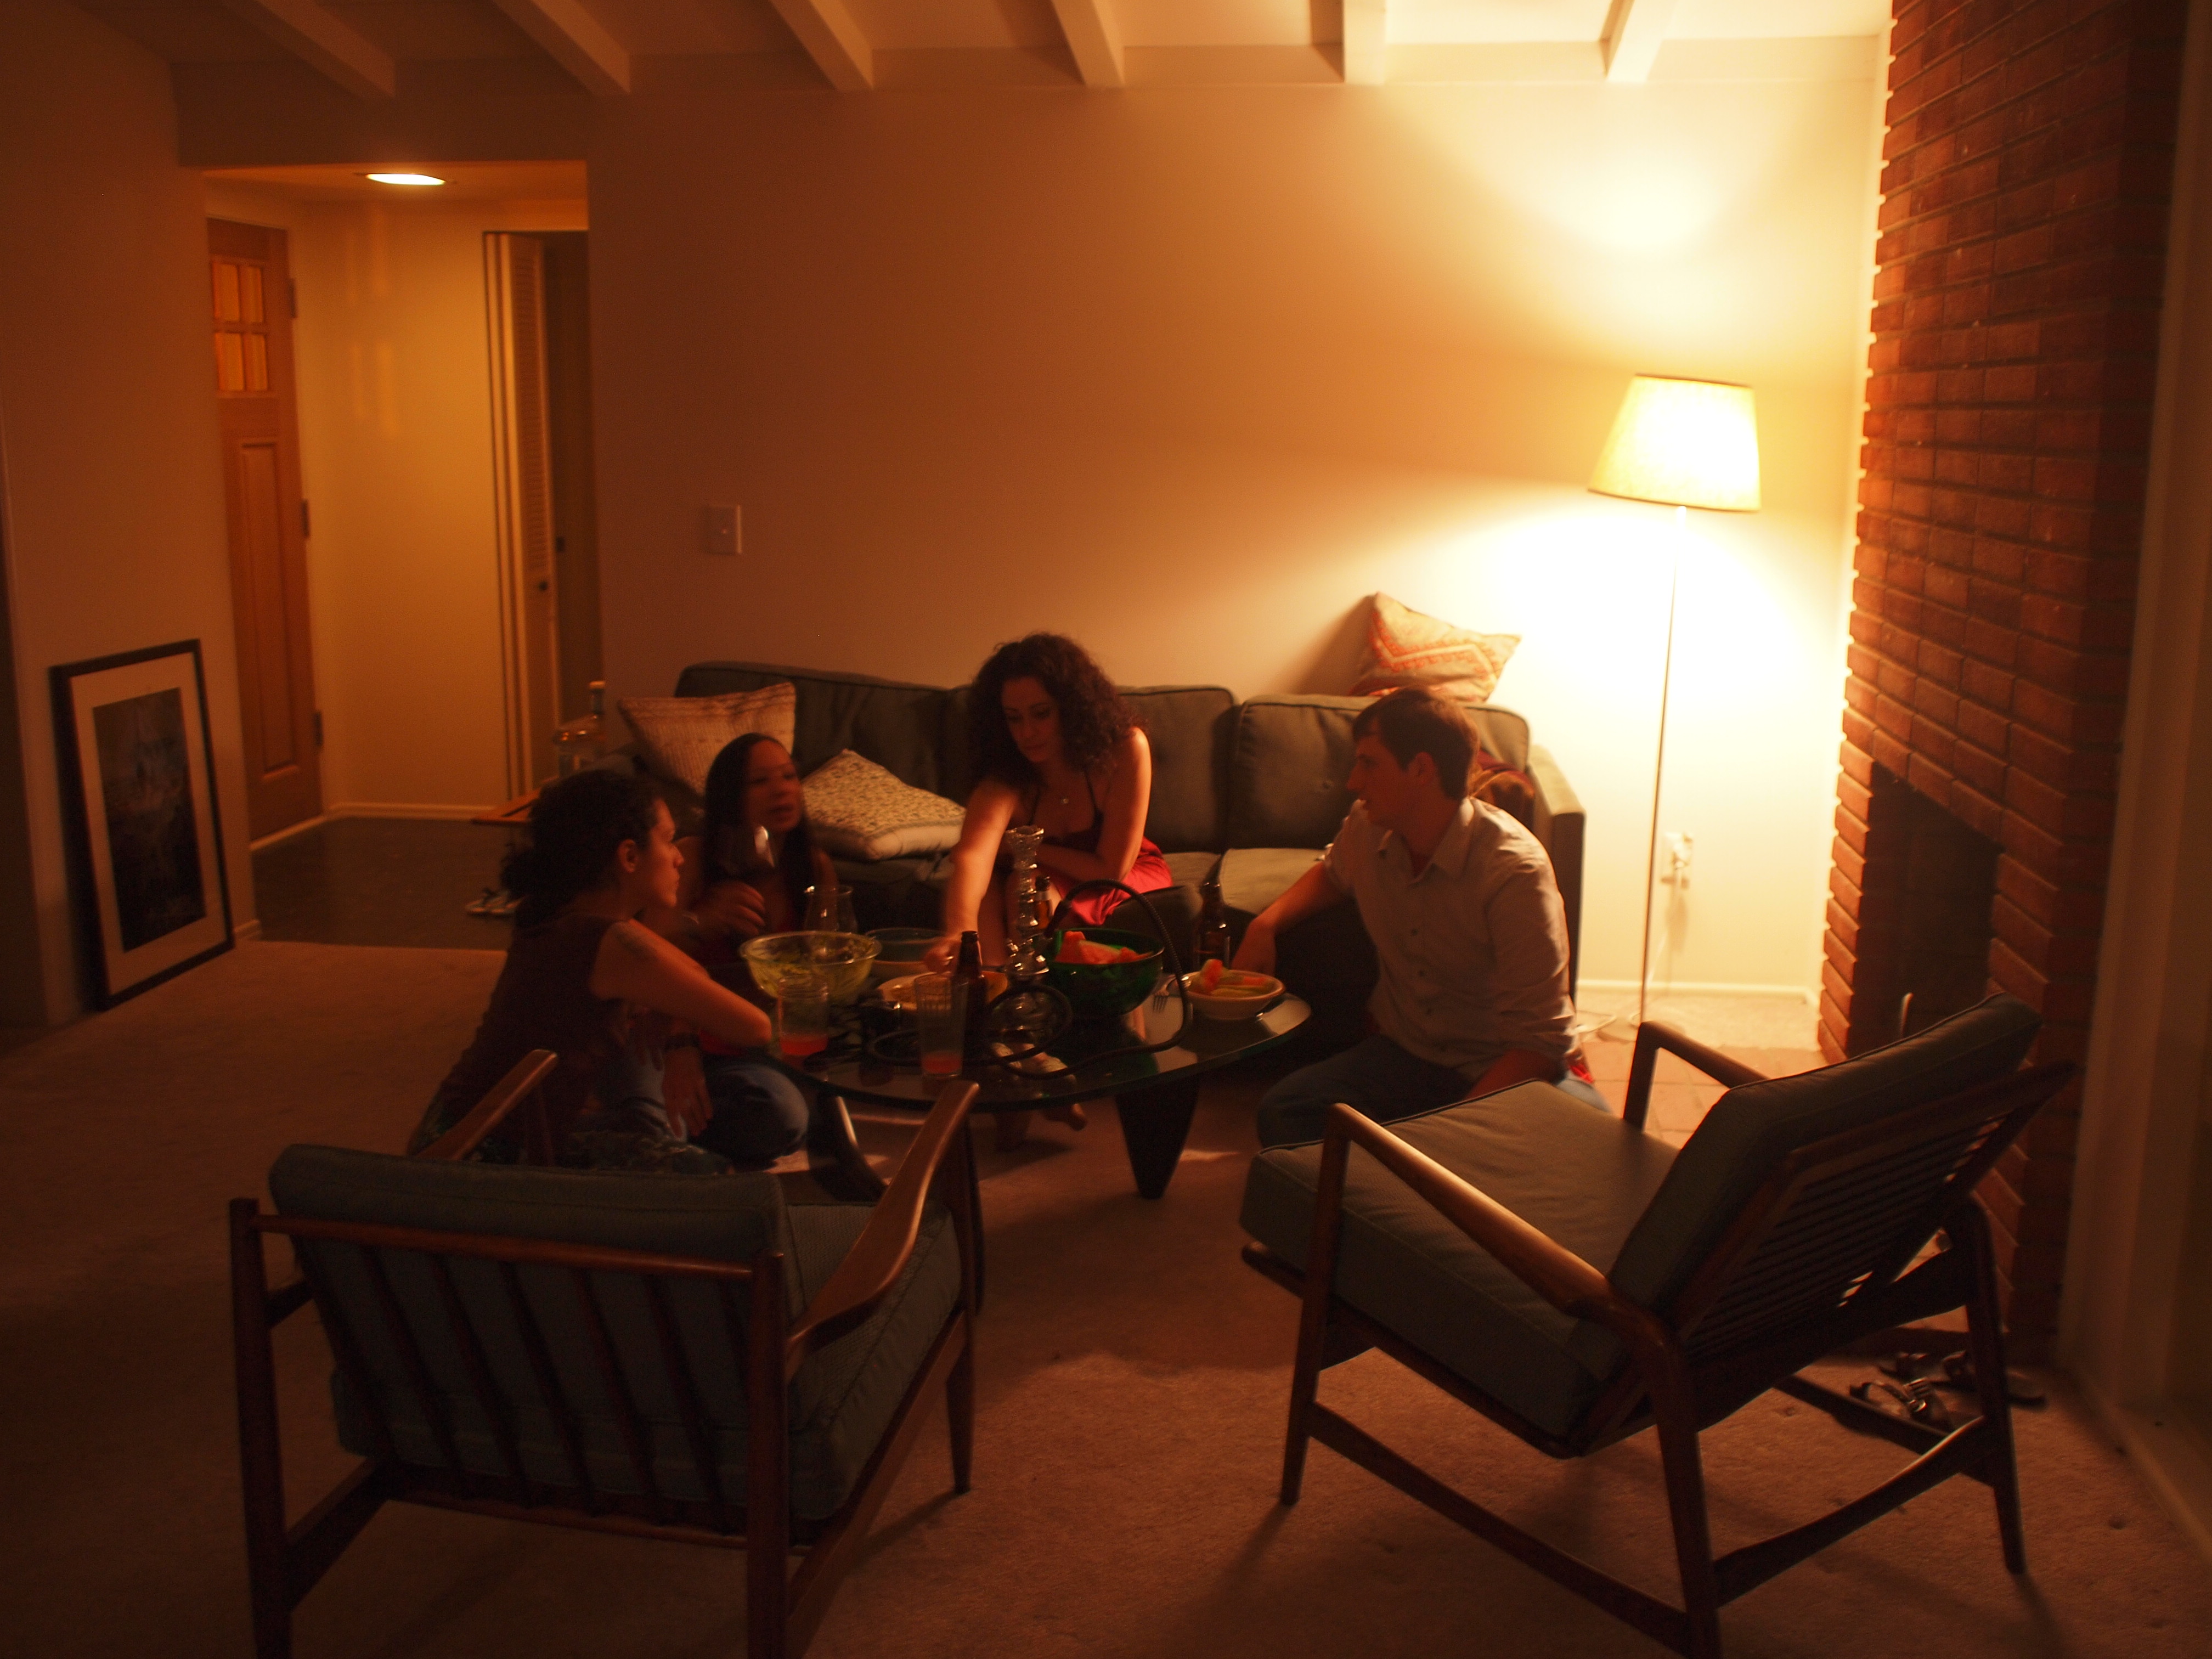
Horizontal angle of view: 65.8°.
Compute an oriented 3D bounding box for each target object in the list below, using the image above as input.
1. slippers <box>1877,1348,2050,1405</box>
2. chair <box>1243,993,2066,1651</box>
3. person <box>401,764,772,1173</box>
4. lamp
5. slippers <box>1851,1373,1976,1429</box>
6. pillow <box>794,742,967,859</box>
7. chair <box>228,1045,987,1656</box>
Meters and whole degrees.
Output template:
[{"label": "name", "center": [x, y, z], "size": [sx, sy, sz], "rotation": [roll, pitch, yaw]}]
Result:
[{"label": "slippers", "center": [1.603, 1.020, 3.216], "size": [0.131, 0.066, 0.252], "rotation": [-9, 8, -43]}, {"label": "chair", "center": [0.846, 0.681, 3.011], "size": [0.974, 1.041, 1.204], "rotation": [-6, 10, -34]}, {"label": "person", "center": [-0.949, 0.297, 3.312], "size": [0.603, 0.813, 0.548], "rotation": [3, 7, -21]}, {"label": "lamp", "center": [1.621, -0.359, 5.031], "size": [0.437, 1.867, 0.551], "rotation": [5, 12, 19]}, {"label": "slippers", "center": [1.469, 1.035, 3.086], "size": [0.149, 0.062, 0.193], "rotation": [-1, 3, -22]}, {"label": "pillow", "center": [-0.631, -0.076, 4.786], "size": [0.312, 0.096, 0.320], "rotation": [-4, 25, -34]}, {"label": "chair", "center": [-0.671, 0.718, 2.679], "size": [0.816, 0.688, 0.973], "rotation": [2, 10, 9]}]
